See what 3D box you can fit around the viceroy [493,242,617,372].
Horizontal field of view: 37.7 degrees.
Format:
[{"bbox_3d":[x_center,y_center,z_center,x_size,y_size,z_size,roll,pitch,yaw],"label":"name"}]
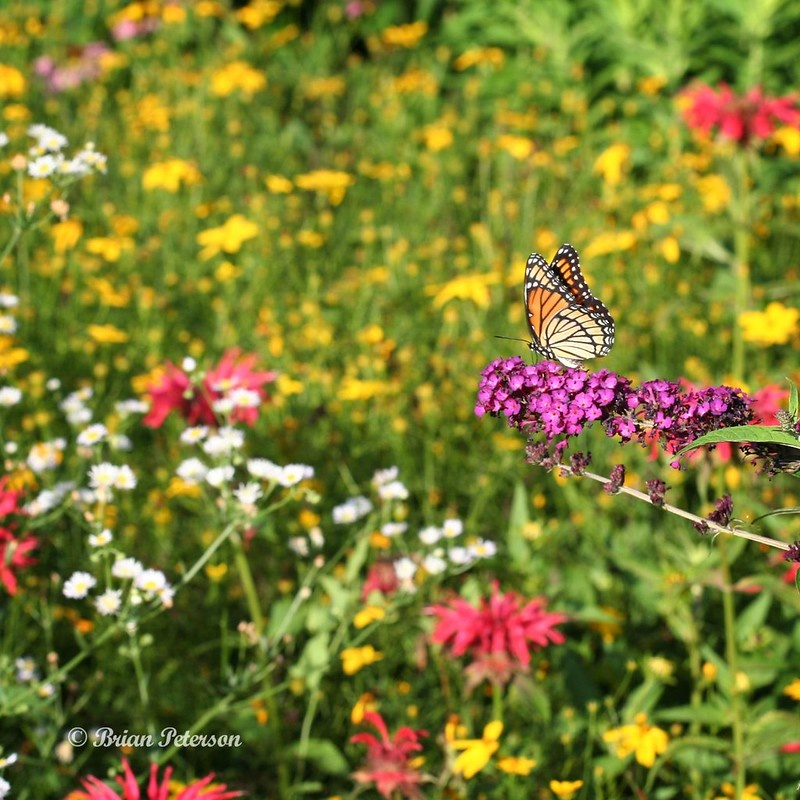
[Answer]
[{"bbox_3d":[0.362,-0.195,2.673,0.149,0.291,0.281,-8,28,-15],"label":"viceroy"}]
